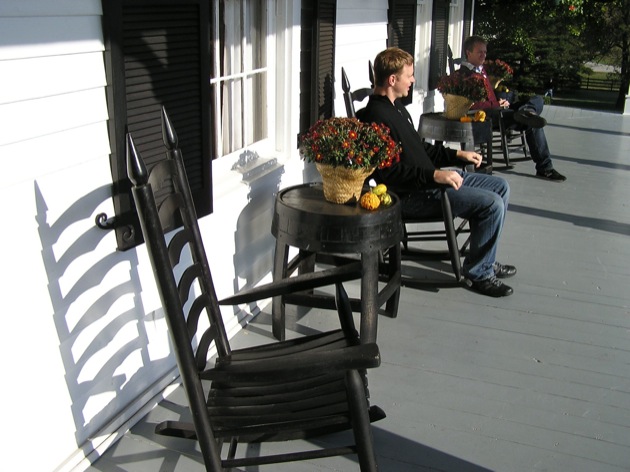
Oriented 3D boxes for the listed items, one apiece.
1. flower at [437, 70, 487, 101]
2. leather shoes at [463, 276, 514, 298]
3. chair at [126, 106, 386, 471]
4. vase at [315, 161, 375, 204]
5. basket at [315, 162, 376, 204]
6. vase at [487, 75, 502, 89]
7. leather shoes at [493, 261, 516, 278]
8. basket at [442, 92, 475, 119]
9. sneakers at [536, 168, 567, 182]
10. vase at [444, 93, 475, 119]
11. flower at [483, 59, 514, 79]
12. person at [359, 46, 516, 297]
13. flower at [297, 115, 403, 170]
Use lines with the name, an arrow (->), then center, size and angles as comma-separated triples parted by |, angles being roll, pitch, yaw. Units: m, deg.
flower -> 1.326, -1.293, 4.629 | 0.316, 0.191, 0.298 | 19, 45, 24
leather shoes -> 1.202, 0.358, 3.662 | 0.343, 0.151, 0.139 | 7, 33, 18
chair -> -0.285, 0.267, 2.453 | 1.139, 1.824, 1.027 | -4, 28, 1
vase -> 0.144, -0.329, 2.788 | 0.274, 0.169, 0.225 | -1, 15, -33
basket -> 0.149, -0.277, 2.825 | 0.266, 0.165, 0.227 | 6, 14, 0
vase -> 2.262, -1.918, 6.549 | 0.132, 0.177, 0.147 | 1, 27, -10
leather shoes -> 1.400, 0.250, 3.865 | 0.213, 0.087, 0.083 | -3, 34, 5
basket -> 1.267, -1.158, 4.703 | 0.242, 0.183, 0.227 | 6, 33, -6
sneakers -> 2.815, -0.726, 6.255 | 0.333, 0.136, 0.150 | 15, 41, 34
vase -> 1.264, -1.142, 4.697 | 0.240, 0.174, 0.224 | 4, 32, -11
flower -> 2.205, -1.976, 6.381 | 0.308, 0.194, 0.326 | -2, 45, -1
person -> 0.894, -0.452, 3.616 | 1.046, 1.586, 0.735 | 3, 21, 14
flower -> 0.173, -0.484, 2.696 | 0.344, 0.161, 0.347 | 16, 24, 26
